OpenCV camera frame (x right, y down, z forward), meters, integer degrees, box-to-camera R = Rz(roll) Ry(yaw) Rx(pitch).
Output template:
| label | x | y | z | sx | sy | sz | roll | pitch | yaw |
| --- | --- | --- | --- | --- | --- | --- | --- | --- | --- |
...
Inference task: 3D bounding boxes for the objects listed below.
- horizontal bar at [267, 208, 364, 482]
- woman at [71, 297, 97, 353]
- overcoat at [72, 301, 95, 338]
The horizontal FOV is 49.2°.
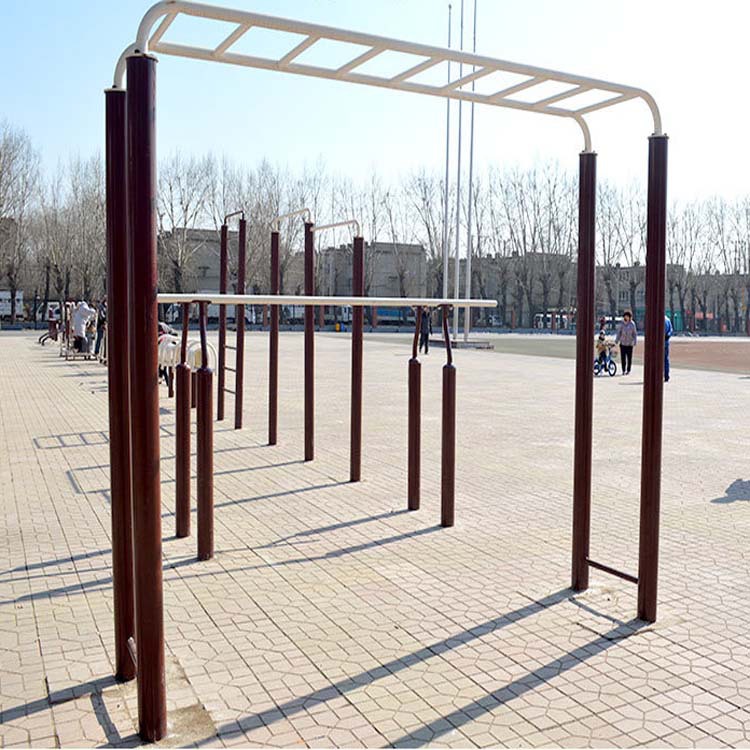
| label | x | y | z | sx | sy | sz | roll | pitch | yaw |
| --- | --- | --- | --- | --- | --- | --- | --- | --- | --- |
| horizontal bar | -1.431 | -0.999 | 17.958 | 1.392 | 11.718 | 1.644 | -5 | 11 | -34 |
| woman | -7.785 | -1.290 | 21.870 | 0.445 | 1.484 | 0.468 | -7 | -14 | 14 |
| overcoat | -7.863 | -1.482 | 22.043 | 0.582 | 0.966 | 1.137 | -1 | 4 | -22 |
